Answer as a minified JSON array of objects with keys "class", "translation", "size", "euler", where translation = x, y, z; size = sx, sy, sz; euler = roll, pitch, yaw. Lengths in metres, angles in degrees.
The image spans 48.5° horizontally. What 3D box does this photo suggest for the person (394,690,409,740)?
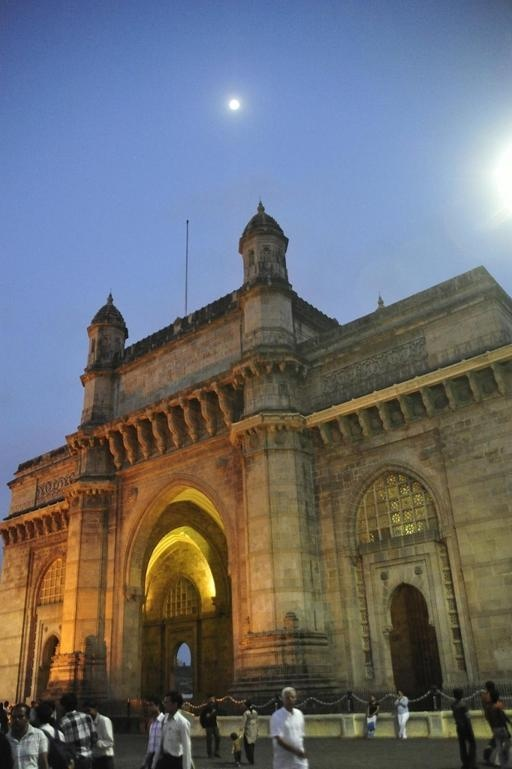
[{"class":"person","translation":[2.933,6.612,11.384],"size":[0.302,0.803,0.734],"euler":[-9,-26,9]}]
